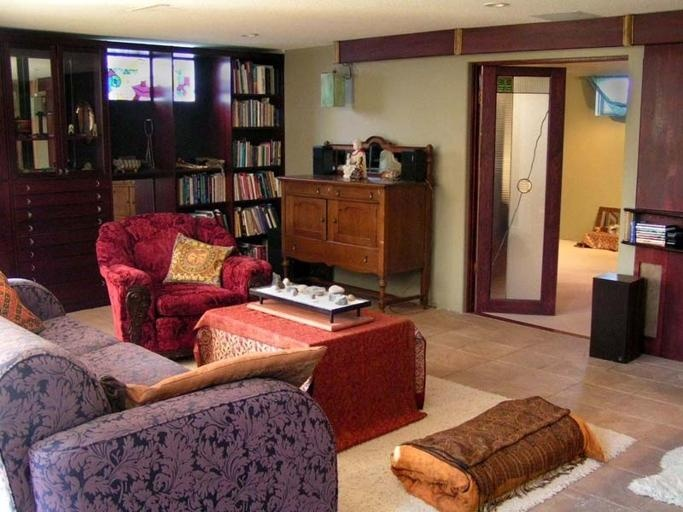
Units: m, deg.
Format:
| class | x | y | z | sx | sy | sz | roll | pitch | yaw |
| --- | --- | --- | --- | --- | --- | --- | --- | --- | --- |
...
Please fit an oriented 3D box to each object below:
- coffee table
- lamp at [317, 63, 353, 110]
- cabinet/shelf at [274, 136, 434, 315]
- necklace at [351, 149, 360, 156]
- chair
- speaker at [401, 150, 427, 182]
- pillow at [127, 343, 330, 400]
| class | x | y | z | sx | sy | sz | roll | pitch | yaw |
| --- | --- | --- | --- | --- | --- | --- | --- | --- | --- |
| coffee table | -0.270 | 0.761 | 3.733 | 1.323 | 0.651 | 1.465 | -1 | 6 | -32 |
| lamp | -0.066 | -2.058 | 6.296 | 0.249 | 0.500 | 0.391 | 11 | 16 | 37 |
| cabinet/shelf | 0.208 | -0.326 | 5.615 | 1.893 | 2.116 | 0.944 | 7 | 11 | 40 |
| necklace | 0.158 | -1.178 | 5.982 | 0.095 | 0.024 | 0.099 | -5 | 19 | 17 |
| chair | -1.507 | 0.231 | 4.840 | 1.390 | 1.083 | 1.207 | -1 | 11 | -27 |
| speaker | 0.789 | -0.986 | 5.658 | 0.258 | 0.370 | 0.255 | 7 | 17 | 29 |
| pillow | -0.343 | 0.483 | 2.290 | 0.608 | 0.186 | 0.612 | -7 | -20 | 25 |
